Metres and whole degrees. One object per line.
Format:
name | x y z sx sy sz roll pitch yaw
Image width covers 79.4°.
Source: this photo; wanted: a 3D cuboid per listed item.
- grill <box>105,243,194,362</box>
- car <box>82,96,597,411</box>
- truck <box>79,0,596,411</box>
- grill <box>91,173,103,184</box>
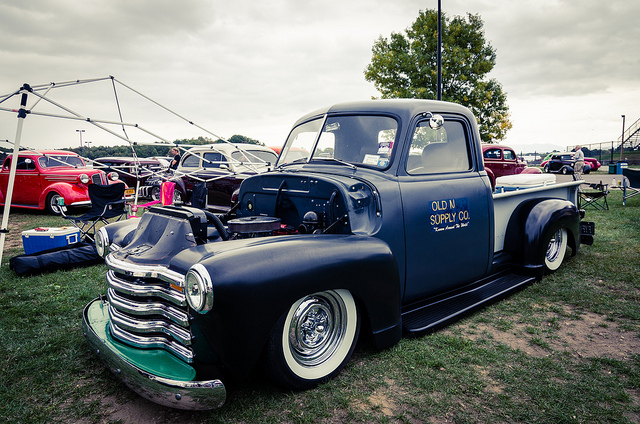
grill | -1.432 0.883 3.812 0.721 0.601 0.987 8 4 29
car | 0.930 0.297 5.571 7.080 2.257 3.013 -8 6 -39
truck | 0.727 -0.006 5.527 6.537 2.870 3.082 -7 4 -40
grill | -7.264 -1.105 12.579 0.269 0.339 0.416 -4 5 -20
